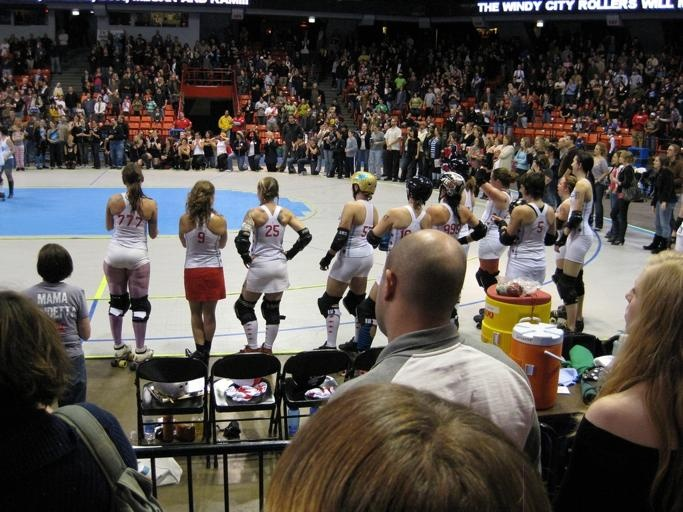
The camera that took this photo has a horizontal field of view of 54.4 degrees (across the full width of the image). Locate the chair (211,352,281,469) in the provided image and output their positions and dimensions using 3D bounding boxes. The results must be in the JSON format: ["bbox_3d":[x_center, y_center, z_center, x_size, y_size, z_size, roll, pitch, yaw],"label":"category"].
[{"bbox_3d":[-0.885,1.196,5.973,0.701,1.126,0.833,0,45,-12],"label":"chair"}]

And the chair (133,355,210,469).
[{"bbox_3d":[-1.497,1.148,5.976,0.611,1.048,0.767,-1,33,-7],"label":"chair"}]

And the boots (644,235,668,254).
[{"bbox_3d":[6.228,-0.217,13.045,0.453,0.320,0.750,5,8,26],"label":"boots"}]

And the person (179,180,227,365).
[{"bbox_3d":[-1.580,0.203,7.622,0.517,2.111,0.546,-1,8,-13],"label":"person"}]

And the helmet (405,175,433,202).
[{"bbox_3d":[0.920,-0.771,7.648,0.244,0.303,0.308,1,13,-15],"label":"helmet"}]

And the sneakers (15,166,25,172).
[{"bbox_3d":[-11.834,-3.185,24.363,0.261,0.255,0.426,-5,6,-8],"label":"sneakers"}]

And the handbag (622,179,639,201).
[{"bbox_3d":[5.834,-1.316,13.311,0.412,0.566,0.255,-2,2,-23],"label":"handbag"}]

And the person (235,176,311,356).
[{"bbox_3d":[-0.843,0.142,7.853,0.835,2.117,1.016,0,8,-3],"label":"person"}]

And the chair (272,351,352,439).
[{"bbox_3d":[-0.275,1.223,6.343,0.676,1.237,0.713,-2,-3,-13],"label":"chair"}]

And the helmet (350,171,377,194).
[{"bbox_3d":[0.265,-0.922,8.173,0.230,0.229,0.293,-2,37,-17],"label":"helmet"}]

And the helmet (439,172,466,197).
[{"bbox_3d":[1.319,-0.898,7.970,0.226,0.265,0.294,-7,44,-26],"label":"helmet"}]

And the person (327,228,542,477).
[{"bbox_3d":[0.523,0.416,3.753,1.343,1.523,0.865,-8,28,-13],"label":"person"}]
